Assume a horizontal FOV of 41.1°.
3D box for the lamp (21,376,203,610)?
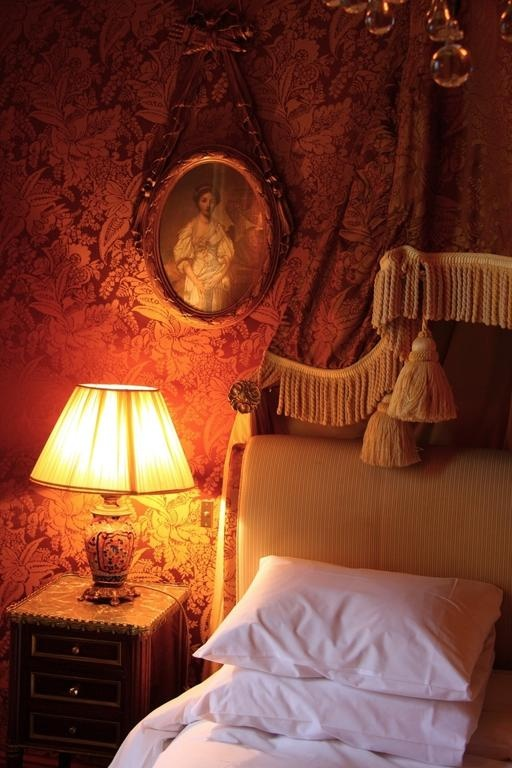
[{"bbox_3d":[-0.250,0.282,1.934,0.581,0.639,0.540,2,0,2],"label":"lamp"}]
